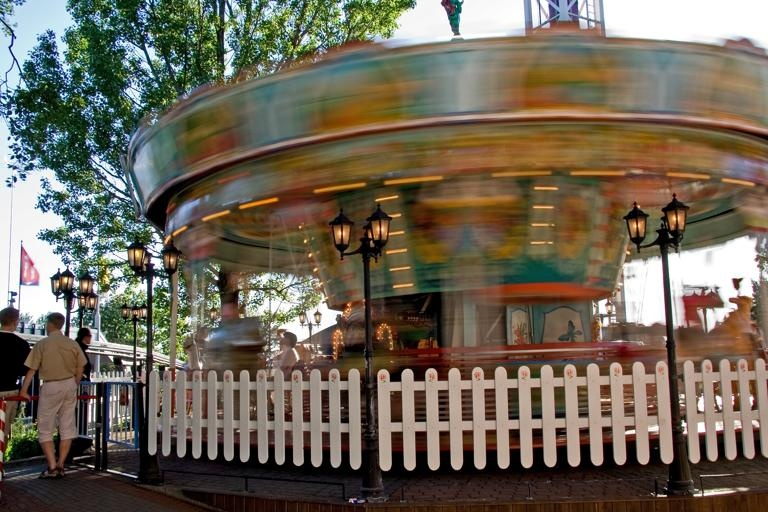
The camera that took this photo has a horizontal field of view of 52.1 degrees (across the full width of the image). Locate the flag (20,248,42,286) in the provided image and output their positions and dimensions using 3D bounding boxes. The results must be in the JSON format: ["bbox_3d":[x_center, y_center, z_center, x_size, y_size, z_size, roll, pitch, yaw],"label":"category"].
[{"bbox_3d":[-16.110,0.508,35.916,0.615,1.803,2.581,-2,0,-17],"label":"flag"}]

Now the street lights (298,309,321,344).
[{"bbox_3d":[-1.337,1.310,14.614,0.140,0.491,0.657,-2,1,-34],"label":"street lights"}]

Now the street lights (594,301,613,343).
[{"bbox_3d":[3.806,1.134,13.649,0.118,0.652,0.627,-1,1,38],"label":"street lights"}]

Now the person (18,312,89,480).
[{"bbox_3d":[-5.025,2.164,12.071,0.951,2.466,0.790,-2,1,-32],"label":"person"}]
